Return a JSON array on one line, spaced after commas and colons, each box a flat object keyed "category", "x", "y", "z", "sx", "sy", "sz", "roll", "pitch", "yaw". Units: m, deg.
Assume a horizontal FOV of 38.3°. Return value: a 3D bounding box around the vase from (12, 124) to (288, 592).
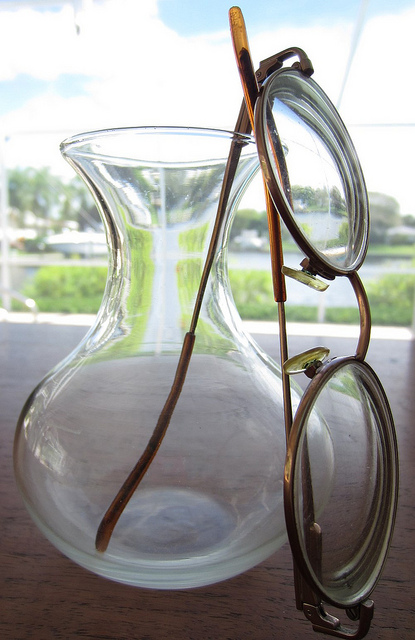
[{"category": "vase", "x": -0.045, "y": 0.020, "z": 0.317, "sx": 0.177, "sy": 0.235, "sz": 0.113, "roll": 1, "pitch": 10, "yaw": 7}]
